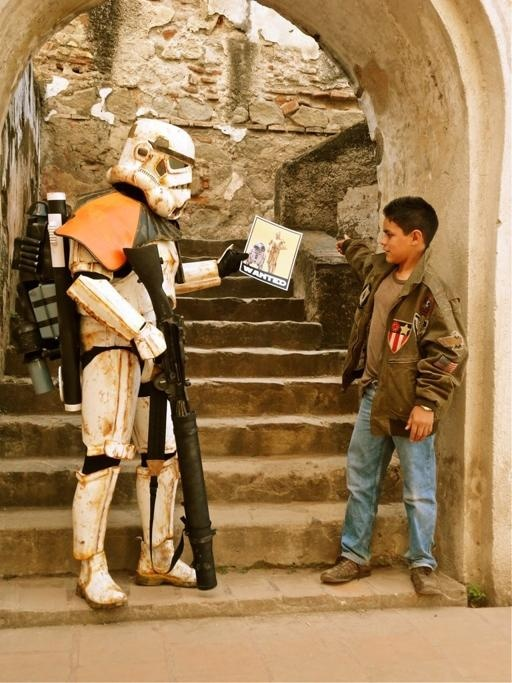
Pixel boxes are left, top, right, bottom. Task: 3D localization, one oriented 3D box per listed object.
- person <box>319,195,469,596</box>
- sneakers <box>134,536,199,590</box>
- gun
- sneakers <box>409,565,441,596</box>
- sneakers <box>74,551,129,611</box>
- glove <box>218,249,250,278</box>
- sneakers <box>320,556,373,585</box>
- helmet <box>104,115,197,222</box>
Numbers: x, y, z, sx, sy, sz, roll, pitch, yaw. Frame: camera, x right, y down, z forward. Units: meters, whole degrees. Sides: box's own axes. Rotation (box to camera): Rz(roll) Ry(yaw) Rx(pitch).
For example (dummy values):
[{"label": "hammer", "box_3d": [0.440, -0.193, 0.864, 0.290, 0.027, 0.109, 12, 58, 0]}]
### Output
[{"label": "person", "box_3d": [0.507, 0.202, 3.159, 0.430, 1.550, 0.658, -2, 12, -33]}, {"label": "sneakers", "box_3d": [-0.312, 0.878, 3.168, 0.348, 0.220, 0.117, 1, -3, -13]}, {"label": "gun", "box_3d": [-0.304, 0.319, 2.797, 0.379, 1.301, 0.182, 3, 10, -9]}, {"label": "sneakers", "box_3d": [0.671, 0.945, 3.098, 0.080, 0.037, 0.116, -2, 21, -9]}, {"label": "sneakers", "box_3d": [-0.572, 0.857, 2.846, 0.117, 0.177, 0.266, -3, 5, -39]}, {"label": "glove", "box_3d": [-0.099, -0.335, 3.349, 0.109, 0.130, 0.055, 32, -2, 4]}, {"label": "sneakers", "box_3d": [0.360, 0.932, 3.221, 0.218, 0.099, 0.076, 5, -9, -33]}, {"label": "helmet", "box_3d": [-0.401, -0.662, 2.961, 0.340, 0.315, 0.314, 17, 5, -10]}]
